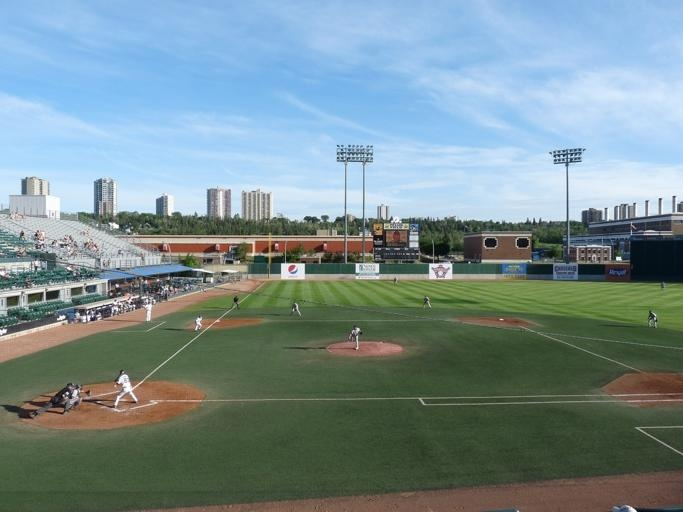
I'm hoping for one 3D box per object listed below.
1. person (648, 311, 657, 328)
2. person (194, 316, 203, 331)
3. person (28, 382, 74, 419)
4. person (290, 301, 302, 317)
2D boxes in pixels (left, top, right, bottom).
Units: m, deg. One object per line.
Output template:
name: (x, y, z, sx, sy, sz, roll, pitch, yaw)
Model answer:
person: (24.679, 5.026, 51.833, 0.554, 1.328, 0.683, 6, 40, 30)
person: (-11.079, 5.218, 50.556, 0.470, 0.421, 1.154, 16, -23, -15)
person: (-13.888, 7.020, 31.868, 1.875, 0.529, 1.316, -26, 31, -37)
person: (-3.962, 4.638, 57.744, 1.041, 0.455, 1.437, 3, 9, -3)
